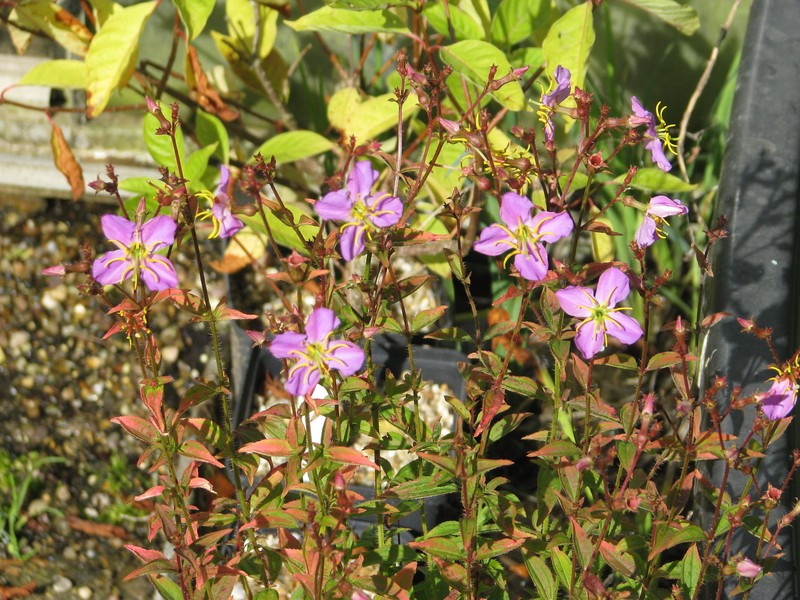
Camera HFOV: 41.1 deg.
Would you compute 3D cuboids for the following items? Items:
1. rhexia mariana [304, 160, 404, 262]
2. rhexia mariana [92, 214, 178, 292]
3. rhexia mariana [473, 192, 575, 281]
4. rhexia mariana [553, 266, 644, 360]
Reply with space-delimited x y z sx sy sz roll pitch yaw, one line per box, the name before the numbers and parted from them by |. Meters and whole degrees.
rhexia mariana | -0.107 -0.236 2.846 0.212 0.183 0.178 -34 59 -24
rhexia mariana | -0.698 -0.131 2.822 0.188 0.216 0.073 -24 4 17
rhexia mariana | 0.333 -0.176 2.818 0.214 0.258 0.086 -8 -1 11
rhexia mariana | 0.531 0.036 2.807 0.216 0.238 0.076 25 14 10
